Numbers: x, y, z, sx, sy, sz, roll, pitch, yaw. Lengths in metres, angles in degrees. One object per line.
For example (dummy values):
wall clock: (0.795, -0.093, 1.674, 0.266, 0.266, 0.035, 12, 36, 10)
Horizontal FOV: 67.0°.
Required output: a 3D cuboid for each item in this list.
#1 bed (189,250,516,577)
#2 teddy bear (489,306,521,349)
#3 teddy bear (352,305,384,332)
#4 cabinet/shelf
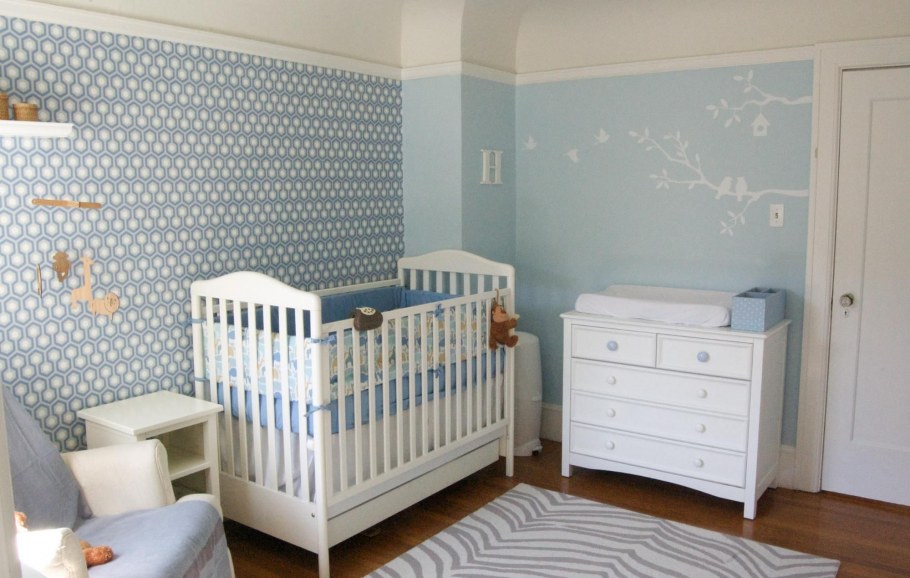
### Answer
bed: (-0.571, 0.601, 4.163, 1.660, 1.579, 0.969, -9, 13, -43)
teddy bear: (0.321, 0.241, 4.446, 0.211, 0.259, 0.203, 1, 0, -10)
teddy bear: (-0.471, 0.162, 3.629, 0.086, 0.133, 0.188, 9, 13, 44)
cabinet/shelf: (1.402, 0.735, 4.468, 1.267, 1.055, 0.669, 4, 6, 38)
